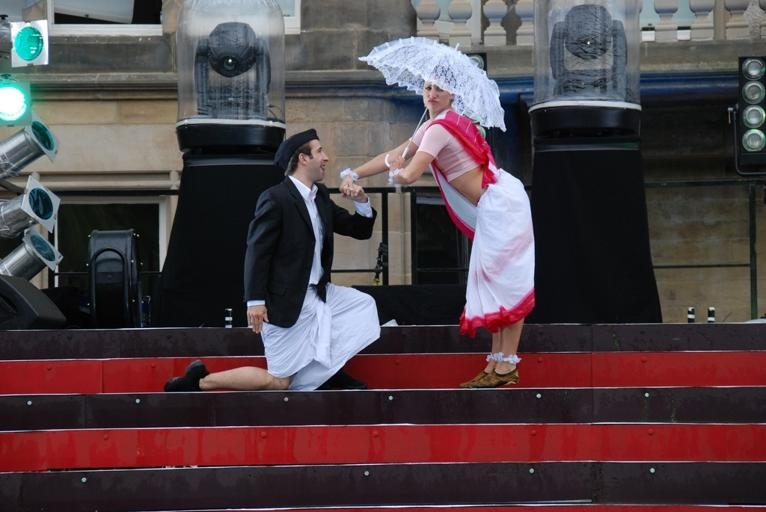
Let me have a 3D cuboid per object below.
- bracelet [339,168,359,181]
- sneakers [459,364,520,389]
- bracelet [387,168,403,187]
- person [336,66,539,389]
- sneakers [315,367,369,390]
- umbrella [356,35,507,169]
[{"bbox_3d":[-0.284,-0.722,16.461,0.156,0.110,0.065,-15,32,48],"label":"bracelet"},{"bbox_3d":[0.974,1.101,16.225,0.421,0.139,0.205,1,-5,-6],"label":"sneakers"},{"bbox_3d":[0.122,-0.680,16.230,0.121,0.124,0.139,1,6,1],"label":"bracelet"},{"bbox_3d":[0.701,-0.186,16.318,1.304,2.747,0.618,-1,6,3],"label":"person"},{"bbox_3d":[-0.341,1.134,16.502,0.463,0.285,0.169,-6,-7,7],"label":"sneakers"},{"bbox_3d":[0.321,-1.411,16.409,1.024,0.389,1.016,22,-12,35],"label":"umbrella"}]
